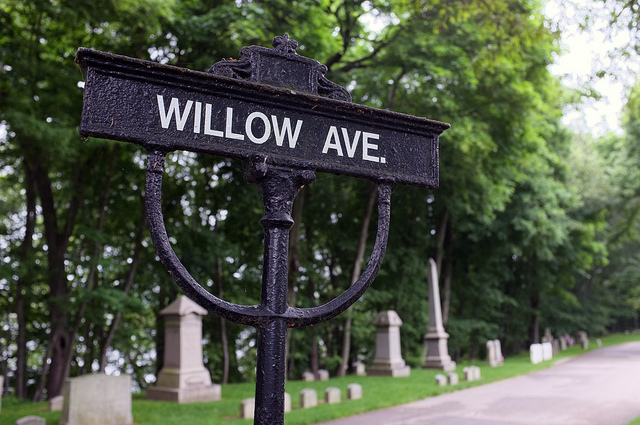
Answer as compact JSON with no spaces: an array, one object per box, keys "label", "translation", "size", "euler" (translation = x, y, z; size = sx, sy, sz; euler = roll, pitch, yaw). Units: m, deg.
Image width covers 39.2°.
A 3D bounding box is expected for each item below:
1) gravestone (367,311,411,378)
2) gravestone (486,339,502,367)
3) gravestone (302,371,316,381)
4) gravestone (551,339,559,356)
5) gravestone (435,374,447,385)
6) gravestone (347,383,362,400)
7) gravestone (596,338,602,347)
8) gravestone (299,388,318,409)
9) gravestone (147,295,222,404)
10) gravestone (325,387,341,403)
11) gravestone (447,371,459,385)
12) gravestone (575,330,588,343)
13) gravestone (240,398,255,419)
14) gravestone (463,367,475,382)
[{"label":"gravestone","translation":[2.455,4.783,32.703],"size":[1.449,2.507,1.141],"euler":[-15,-19,38]},{"label":"gravestone","translation":[5.153,4.118,26.782],"size":[0.452,0.856,0.192],"euler":[3,27,14]},{"label":"gravestone","translation":[-0.430,5.972,32.678],"size":[0.325,0.370,0.415],"euler":[0,-1,7]},{"label":"gravestone","translation":[6.768,3.887,25.904],"size":[0.412,0.433,0.112],"euler":[0,4,-8]},{"label":"gravestone","translation":[3.668,5.101,27.372],"size":[0.228,0.237,0.311],"euler":[3,-15,-14]},{"label":"gravestone","translation":[1.140,5.501,27.557],"size":[0.591,0.600,0.314],"euler":[6,-11,-35]},{"label":"gravestone","translation":[7.774,3.638,25.161],"size":[0.111,0.175,0.246],"euler":[-3,-16,-1]},{"label":"gravestone","translation":[-0.338,5.594,26.906],"size":[0.403,0.418,0.133],"euler":[9,-17,-36]},{"label":"gravestone","translation":[-4.321,4.424,28.744],"size":[1.922,3.378,1.026],"euler":[-1,-14,-9]},{"label":"gravestone","translation":[0.383,5.443,27.231],"size":[0.620,0.620,0.328],"euler":[9,-15,-41]},{"label":"gravestone","translation":[4.026,5.030,27.207],"size":[0.257,0.352,0.345],"euler":[5,-10,-22]},{"label":"gravestone","translation":[7.305,3.484,25.286],"size":[0.341,0.341,0.355],"euler":[0,-1,0]},{"label":"gravestone","translation":[-2.098,5.684,25.979],"size":[0.390,0.605,0.660],"euler":[-2,-16,-4]},{"label":"gravestone","translation":[4.456,4.895,27.128],"size":[0.302,0.550,0.297],"euler":[2,-17,-8]}]
